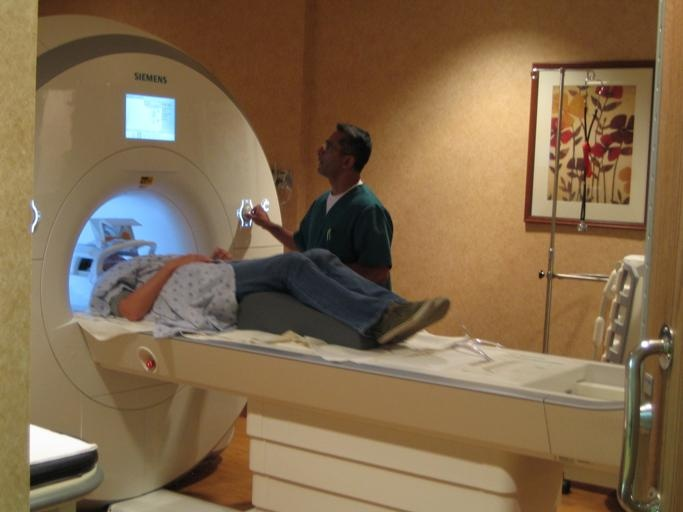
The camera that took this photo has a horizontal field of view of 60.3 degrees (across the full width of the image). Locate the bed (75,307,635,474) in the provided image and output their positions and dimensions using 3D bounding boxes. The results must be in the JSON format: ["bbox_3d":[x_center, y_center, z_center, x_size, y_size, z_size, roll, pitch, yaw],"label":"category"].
[{"bbox_3d":[-0.108,0.345,1.738,1.749,0.223,0.534,4,6,24],"label":"bed"}]

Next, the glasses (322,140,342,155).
[{"bbox_3d":[-0.042,-0.480,2.609,0.069,0.061,0.060,4,4,-8],"label":"glasses"}]

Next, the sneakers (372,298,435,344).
[{"bbox_3d":[0.160,0.181,1.747,0.160,0.073,0.059,-36,2,42],"label":"sneakers"}]

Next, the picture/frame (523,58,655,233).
[{"bbox_3d":[1.201,-0.543,2.905,0.590,0.819,0.331,6,15,23],"label":"picture/frame"}]

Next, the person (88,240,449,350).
[{"bbox_3d":[-0.263,0.012,1.869,0.858,0.263,0.487,10,3,16],"label":"person"}]

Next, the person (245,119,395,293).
[{"bbox_3d":[-0.171,-0.146,2.838,0.600,1.154,0.736,1,2,-11],"label":"person"}]
